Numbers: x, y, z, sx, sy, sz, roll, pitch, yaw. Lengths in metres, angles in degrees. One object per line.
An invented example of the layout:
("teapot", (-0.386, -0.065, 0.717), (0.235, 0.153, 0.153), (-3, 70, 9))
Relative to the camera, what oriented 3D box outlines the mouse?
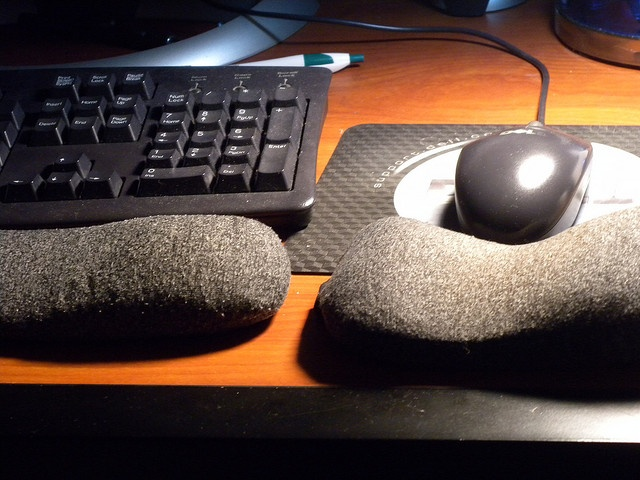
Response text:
("mouse", (0.143, -0.062, 0.384), (0.100, 0.044, 0.140), (9, 42, 18))
